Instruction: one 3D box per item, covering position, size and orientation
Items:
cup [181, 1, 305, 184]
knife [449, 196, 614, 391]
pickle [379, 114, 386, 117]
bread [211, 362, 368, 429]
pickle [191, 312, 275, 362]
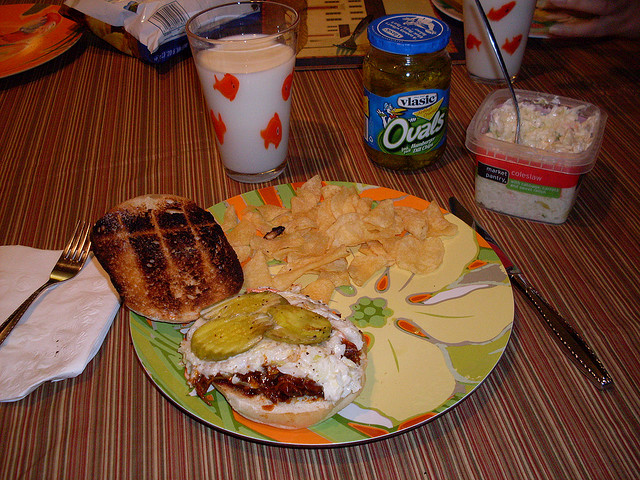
[{"bbox_3d":[-0.243,-0.552,1.821,0.402,0.518,0.427,-2,51,2],"label":"cup"},{"bbox_3d":[0.630,0.132,1.475,0.084,0.081,0.714,-19,54,-11],"label":"knife"},{"bbox_3d":[0.220,-0.436,1.684,0.017,0.011,0.005,12,32,33],"label":"pickle"},{"bbox_3d":[-0.088,0.416,1.206,0.373,0.047,0.097,0,52,4],"label":"bread"},{"bbox_3d":[-0.234,0.247,1.237,0.172,0.038,0.122,-9,47,-9],"label":"pickle"}]
